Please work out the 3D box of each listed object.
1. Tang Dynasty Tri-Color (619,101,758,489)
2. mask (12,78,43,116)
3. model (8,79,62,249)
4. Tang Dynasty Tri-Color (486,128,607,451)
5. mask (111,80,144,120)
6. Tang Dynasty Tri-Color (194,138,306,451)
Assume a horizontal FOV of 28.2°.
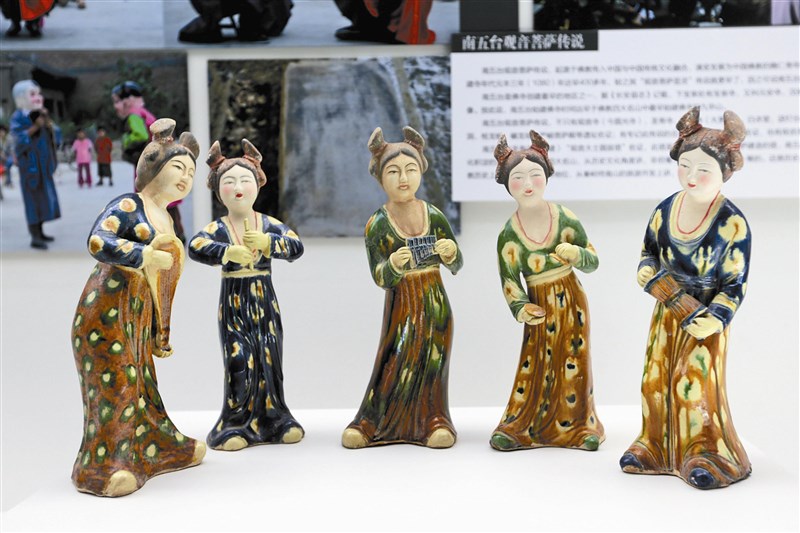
[{"bbox_3d":[2.012,0.209,10.896,0.828,2.500,0.732,2,12,14],"label":"Tang Dynasty Tri-Color"},{"bbox_3d":[-2.951,-1.327,12.619,0.247,0.285,0.212,1,22,22],"label":"mask"},{"bbox_3d":[-2.889,-0.796,12.604,0.319,1.272,0.233,7,20,33],"label":"model"},{"bbox_3d":[1.020,0.290,11.434,0.668,2.439,0.763,-5,12,-6],"label":"Tang Dynasty Tri-Color"},{"bbox_3d":[-2.132,-1.315,12.668,0.266,0.305,0.224,-3,28,0],"label":"mask"},{"bbox_3d":[-1.093,0.208,11.406,0.775,2.141,0.557,-3,12,-7],"label":"Tang Dynasty Tri-Color"}]
